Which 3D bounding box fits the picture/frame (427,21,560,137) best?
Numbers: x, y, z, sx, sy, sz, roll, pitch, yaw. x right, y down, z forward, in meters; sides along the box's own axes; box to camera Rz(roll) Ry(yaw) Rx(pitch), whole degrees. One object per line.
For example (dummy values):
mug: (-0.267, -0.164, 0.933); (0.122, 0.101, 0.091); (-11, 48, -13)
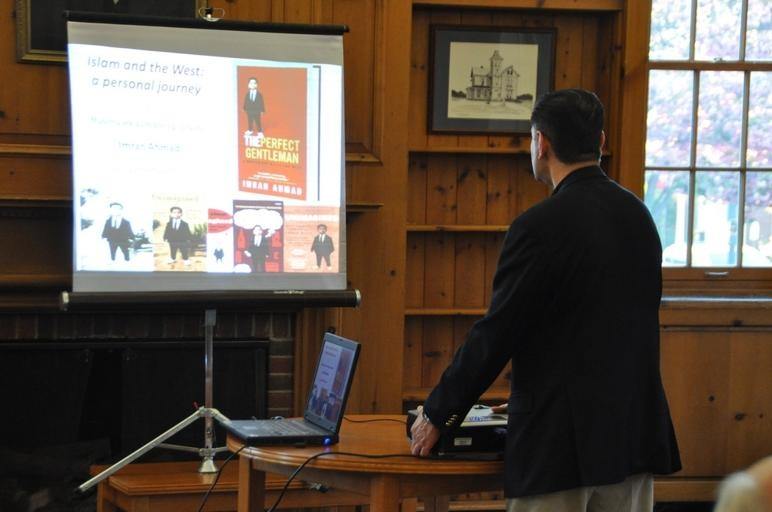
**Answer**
picture/frame: (0.631, -1.126, 8.065); (0.841, 0.774, 0.037); (1, 6, -1)
